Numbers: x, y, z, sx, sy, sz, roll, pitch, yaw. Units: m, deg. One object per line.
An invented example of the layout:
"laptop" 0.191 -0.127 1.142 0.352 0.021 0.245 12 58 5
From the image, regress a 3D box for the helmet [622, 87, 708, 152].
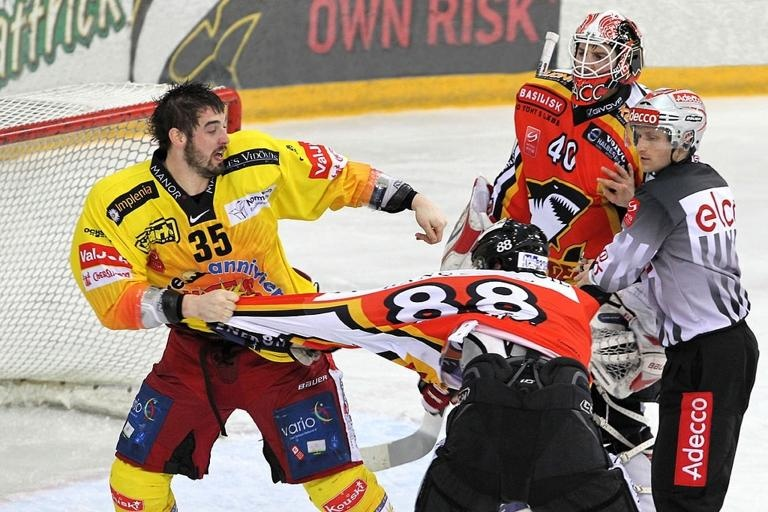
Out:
"helmet" 1.389 -0.676 4.751 0.410 0.295 0.300 -1 5 -4

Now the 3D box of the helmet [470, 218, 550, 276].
"helmet" 0.598 -0.040 4.526 0.337 0.253 0.253 15 -7 38
